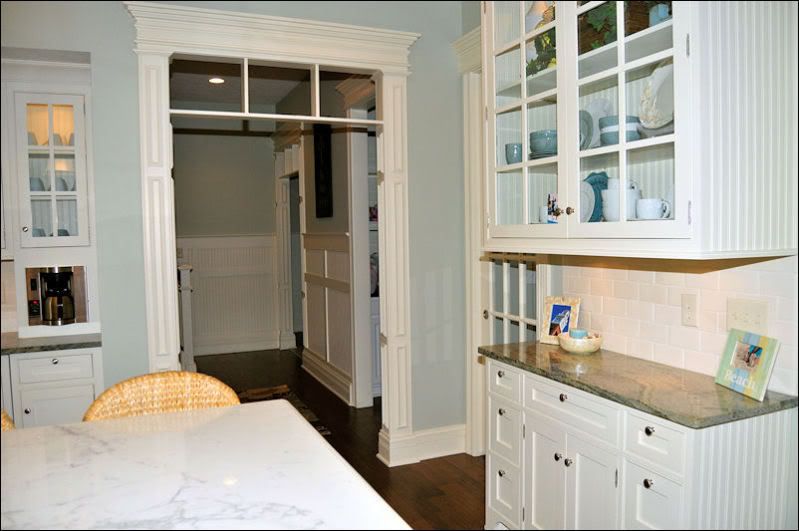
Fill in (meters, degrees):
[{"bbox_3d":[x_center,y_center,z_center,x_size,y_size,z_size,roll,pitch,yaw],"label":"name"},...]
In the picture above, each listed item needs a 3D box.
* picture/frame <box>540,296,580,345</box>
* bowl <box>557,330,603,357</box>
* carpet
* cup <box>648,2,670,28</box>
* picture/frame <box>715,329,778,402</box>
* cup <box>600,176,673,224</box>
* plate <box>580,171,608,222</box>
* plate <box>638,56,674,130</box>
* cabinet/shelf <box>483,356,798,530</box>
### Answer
[{"bbox_3d":[0.883,0.309,3.083,0.028,0.329,0.270,18,-12,-36],"label":"picture/frame"},{"bbox_3d":[0.951,0.398,2.942,0.273,0.110,0.187,-4,10,-25],"label":"bowl"},{"bbox_3d":[-1.028,1.318,4.833,0.039,0.358,0.996,-29,-38,25],"label":"carpet"},{"bbox_3d":[1.032,-0.995,2.240,0.091,0.098,0.089,1,6,0],"label":"cup"},{"bbox_3d":[1.431,0.418,2.315,0.036,0.317,0.256,24,-1,-20],"label":"picture/frame"},{"bbox_3d":[0.970,-0.268,2.329,0.136,0.157,0.226,-3,8,-26],"label":"cup"},{"bbox_3d":[0.860,-0.303,2.515,0.071,0.179,0.193,3,3,-8],"label":"plate"},{"bbox_3d":[1.031,-0.665,2.249,0.044,0.198,0.170,10,-22,-20],"label":"plate"},{"bbox_3d":[1.049,0.742,2.359,0.541,0.745,0.919,0,4,-28],"label":"cabinet/shelf"}]
